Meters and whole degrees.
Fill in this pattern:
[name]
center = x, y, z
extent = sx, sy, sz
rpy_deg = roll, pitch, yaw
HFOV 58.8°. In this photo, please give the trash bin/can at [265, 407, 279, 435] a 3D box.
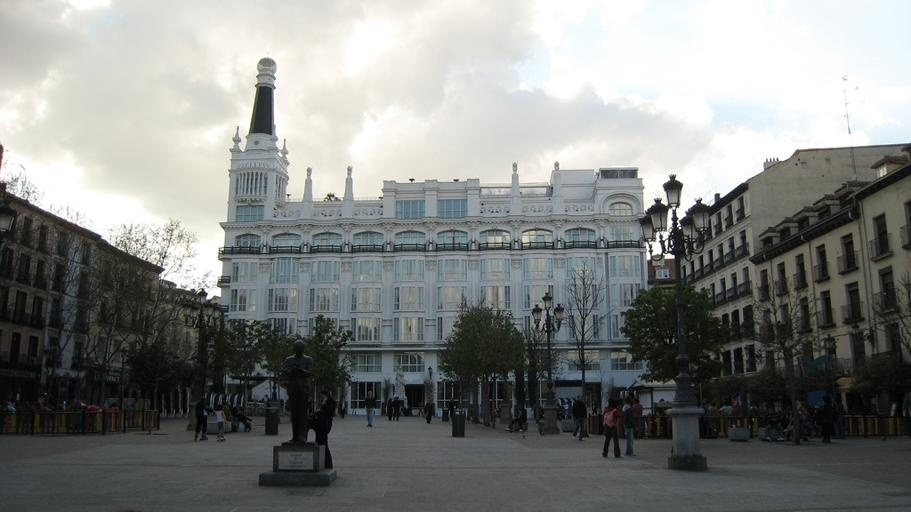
[trash bin/can]
center = -11.505, 10.428, 50.864
extent = 0.767, 1.704, 1.539
rpy_deg = 4, -17, -15
